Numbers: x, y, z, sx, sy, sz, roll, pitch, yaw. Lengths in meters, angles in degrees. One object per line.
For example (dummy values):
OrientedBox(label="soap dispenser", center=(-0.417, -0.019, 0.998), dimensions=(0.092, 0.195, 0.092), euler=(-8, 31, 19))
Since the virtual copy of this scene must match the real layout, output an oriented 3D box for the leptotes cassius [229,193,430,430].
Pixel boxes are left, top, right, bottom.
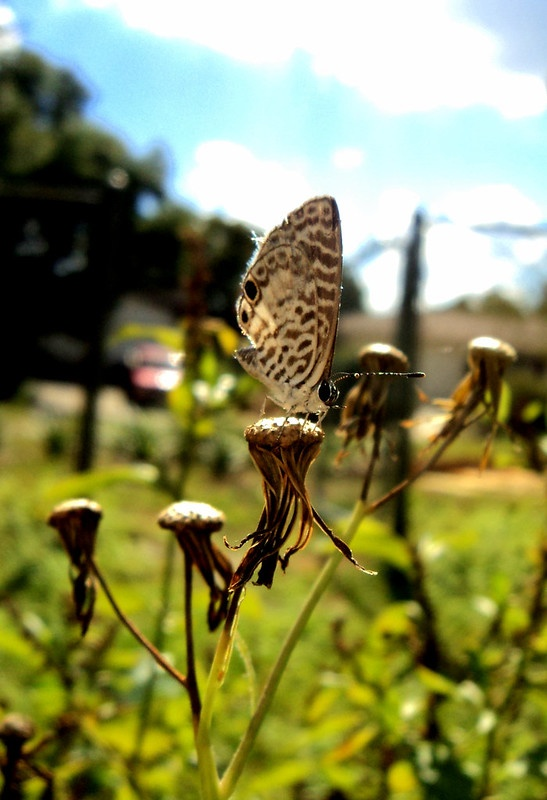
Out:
OrientedBox(label="leptotes cassius", center=(0.058, -0.149, 1.434), dimensions=(0.358, 0.440, 0.358), euler=(8, 9, 7))
